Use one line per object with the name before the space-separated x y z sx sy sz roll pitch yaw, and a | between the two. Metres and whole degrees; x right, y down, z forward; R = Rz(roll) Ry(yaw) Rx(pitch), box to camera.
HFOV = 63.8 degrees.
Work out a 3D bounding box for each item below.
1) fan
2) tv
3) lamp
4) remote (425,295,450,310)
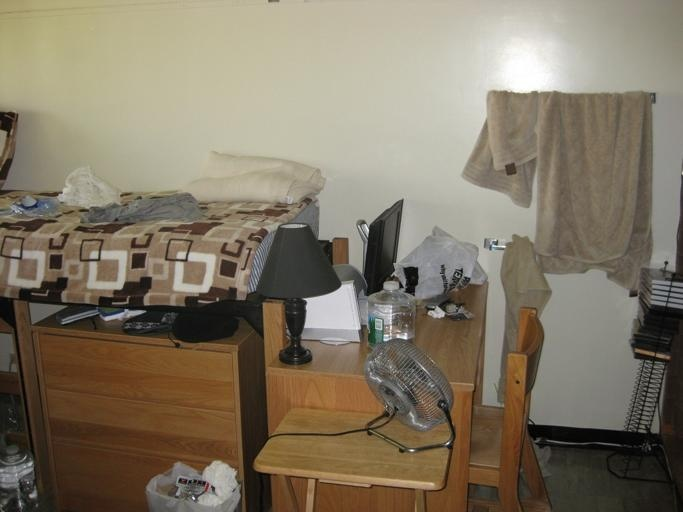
fan | 0.227 0.509 2.019 0.219 0.373 0.396 -20 18 -31
tv | 0.225 -0.038 2.847 0.156 0.339 0.518 6 18 15
lamp | -0.171 0.157 2.253 0.341 0.574 0.185 1 3 0
remote | 0.473 0.227 2.715 0.063 0.033 0.116 11 22 38
